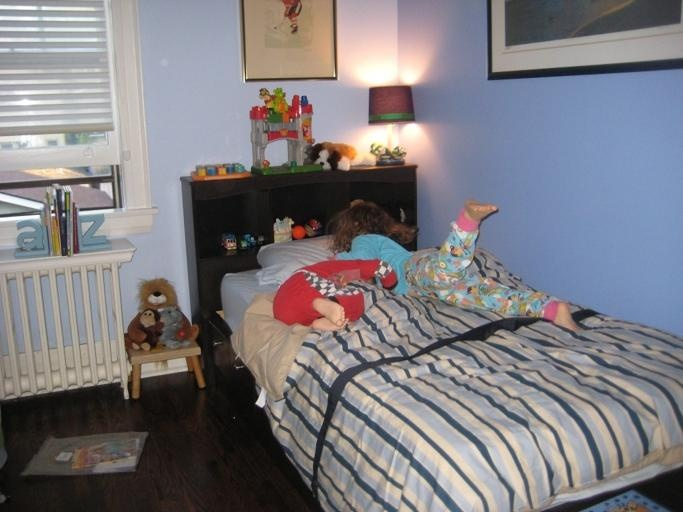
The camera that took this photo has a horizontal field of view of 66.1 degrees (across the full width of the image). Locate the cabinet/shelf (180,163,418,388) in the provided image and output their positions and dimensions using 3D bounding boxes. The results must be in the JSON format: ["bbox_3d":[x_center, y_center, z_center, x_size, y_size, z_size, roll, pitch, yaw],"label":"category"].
[{"bbox_3d":[-0.301,0.114,2.859,1.203,0.962,0.396,-11,18,-29],"label":"cabinet/shelf"}]

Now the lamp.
[{"bbox_3d":[0.362,-0.917,3.725,0.335,0.531,0.353,-3,11,5],"label":"lamp"}]

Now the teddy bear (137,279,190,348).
[{"bbox_3d":[-1.071,0.348,3.199,0.294,0.427,0.283,-3,6,0],"label":"teddy bear"}]

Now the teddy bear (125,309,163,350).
[{"bbox_3d":[-1.189,0.427,3.181,0.210,0.266,0.145,7,6,-29],"label":"teddy bear"}]

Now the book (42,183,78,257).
[{"bbox_3d":[-1.569,-0.183,2.936,0.214,0.423,0.432,-2,10,-23],"label":"book"}]

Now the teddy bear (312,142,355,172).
[{"bbox_3d":[-0.052,-0.678,3.556,0.257,0.142,0.182,9,15,15],"label":"teddy bear"}]
